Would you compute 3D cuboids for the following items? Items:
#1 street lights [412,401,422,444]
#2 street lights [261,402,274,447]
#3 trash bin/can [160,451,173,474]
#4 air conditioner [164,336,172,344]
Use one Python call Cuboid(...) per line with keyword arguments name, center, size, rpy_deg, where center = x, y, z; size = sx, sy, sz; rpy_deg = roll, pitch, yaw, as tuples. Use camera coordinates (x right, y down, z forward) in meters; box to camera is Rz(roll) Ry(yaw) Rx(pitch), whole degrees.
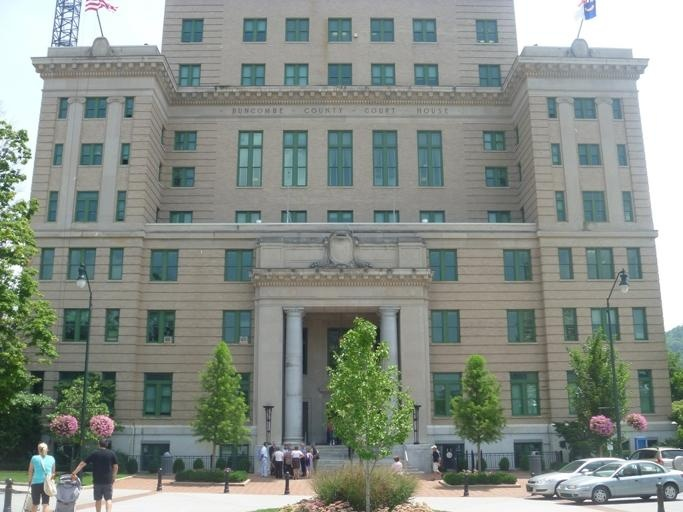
Cuboid(name="street lights", center=(5.457, 12.202, 59.458), size=(0.619, 2.798, 0.992), rpy_deg=(-2, -16, 4))
Cuboid(name="street lights", center=(-5.271, 12.135, 59.115), size=(0.725, 2.787, 0.939), rpy_deg=(1, -16, -5))
Cuboid(name="trash bin/can", center=(-11.779, 14.102, 55.386), size=(0.584, 1.320, 0.894), rpy_deg=(0, -16, -3))
Cuboid(name="air conditioner", center=(-13.204, 6.461, 62.683), size=(0.576, 0.378, 0.529), rpy_deg=(0, -6, -6))
